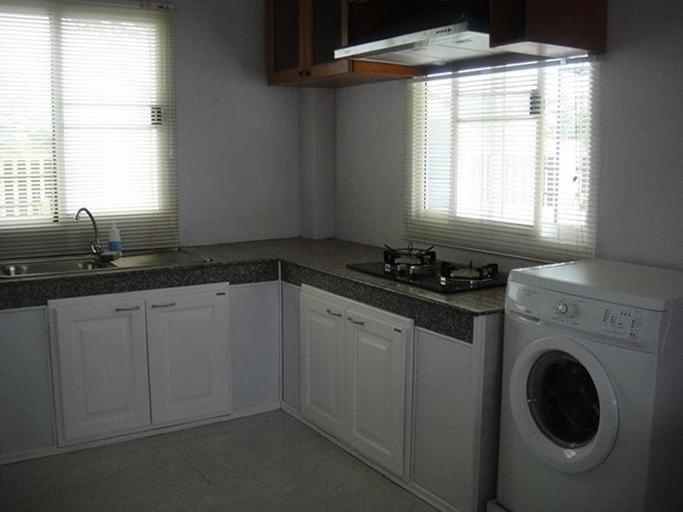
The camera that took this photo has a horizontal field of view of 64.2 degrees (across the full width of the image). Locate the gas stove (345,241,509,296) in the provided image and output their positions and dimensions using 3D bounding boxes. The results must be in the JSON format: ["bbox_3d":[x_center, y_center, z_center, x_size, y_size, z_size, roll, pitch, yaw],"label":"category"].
[{"bbox_3d":[0.523,0.052,3.143,0.623,0.119,0.927,-11,18,-37],"label":"gas stove"}]
